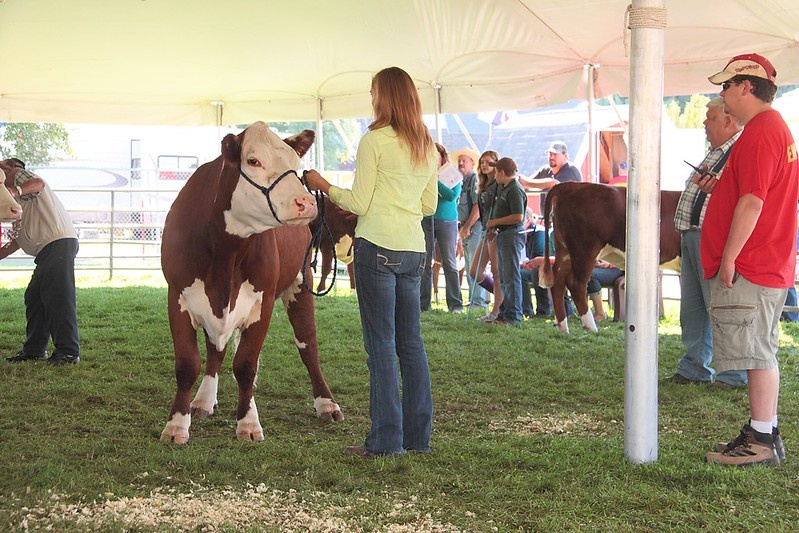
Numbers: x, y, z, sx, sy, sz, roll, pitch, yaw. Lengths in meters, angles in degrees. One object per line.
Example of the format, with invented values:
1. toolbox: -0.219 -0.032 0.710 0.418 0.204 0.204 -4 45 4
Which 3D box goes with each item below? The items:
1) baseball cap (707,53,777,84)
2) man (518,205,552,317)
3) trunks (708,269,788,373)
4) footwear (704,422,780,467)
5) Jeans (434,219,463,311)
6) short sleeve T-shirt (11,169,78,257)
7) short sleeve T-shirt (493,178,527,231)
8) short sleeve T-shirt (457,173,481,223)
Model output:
1. baseball cap: 2.823 -1.614 7.073 0.445 0.216 0.281 7 11 19
2. man: 1.986 -0.006 12.618 0.773 1.372 0.482 2 -7 -10
3. trunks: 2.976 0.480 7.407 0.697 1.142 0.915 -1 -7 32
4. footwear: 2.780 1.447 6.858 0.228 0.288 0.604 2 -12 -44
5. Jeans: 0.732 -0.136 12.710 0.378 1.492 0.484 -5 12 -6
6. short sleeve T-shirt: -4.000 -0.608 9.352 0.759 0.855 0.559 -15 7 45
7. short sleeve T-shirt: 1.466 -0.818 11.434 0.438 0.721 0.714 5 0 -8
8. short sleeve T-shirt: 1.033 -1.022 12.590 0.306 0.774 0.707 3 5 -3
